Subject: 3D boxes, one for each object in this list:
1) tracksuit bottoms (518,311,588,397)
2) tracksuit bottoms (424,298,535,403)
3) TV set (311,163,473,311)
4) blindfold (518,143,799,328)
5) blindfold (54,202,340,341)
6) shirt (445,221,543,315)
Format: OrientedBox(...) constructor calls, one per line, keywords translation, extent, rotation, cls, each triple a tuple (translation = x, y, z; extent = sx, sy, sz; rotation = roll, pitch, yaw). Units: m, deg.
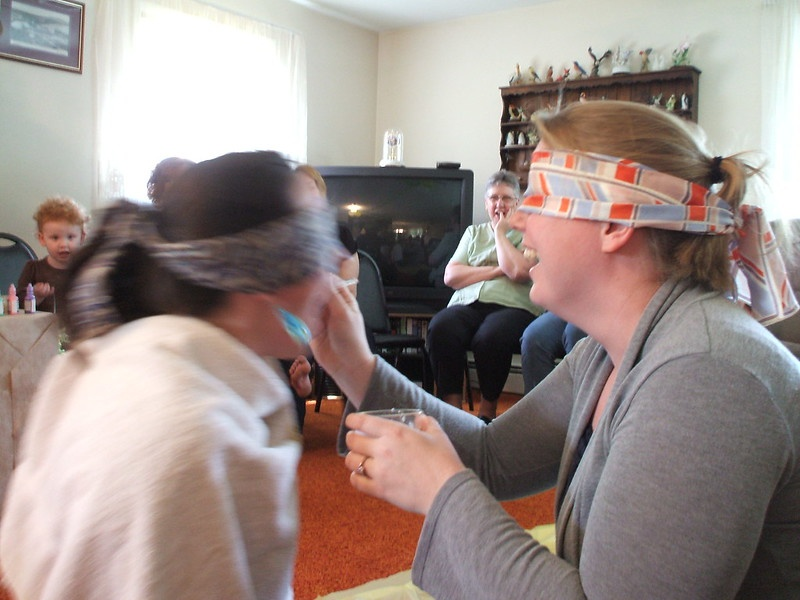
OrientedBox(translation=(0.724, 0.206, 3.035), extent=(0.242, 0.411, 0.278), rotation=(-21, 35, -9), cls="tracksuit bottoms")
OrientedBox(translation=(0.362, 0.213, 3.307), extent=(0.410, 0.659, 0.631), rotation=(5, -5, -44), cls="tracksuit bottoms")
OrientedBox(translation=(-0.026, -0.541, 4.556), extent=(1.058, 1.015, 0.629), rotation=(5, 24, 11), cls="TV set")
OrientedBox(translation=(0.405, -0.123, 0.944), extent=(0.297, 0.187, 0.310), rotation=(5, -4, 24), cls="blindfold")
OrientedBox(translation=(-0.245, -0.047, 0.742), extent=(0.227, 0.139, 0.182), rotation=(-6, -1, -2), cls="blindfold")
OrientedBox(translation=(0.512, -0.174, 3.451), extent=(0.462, 0.605, 0.330), rotation=(2, -15, 24), cls="shirt")
